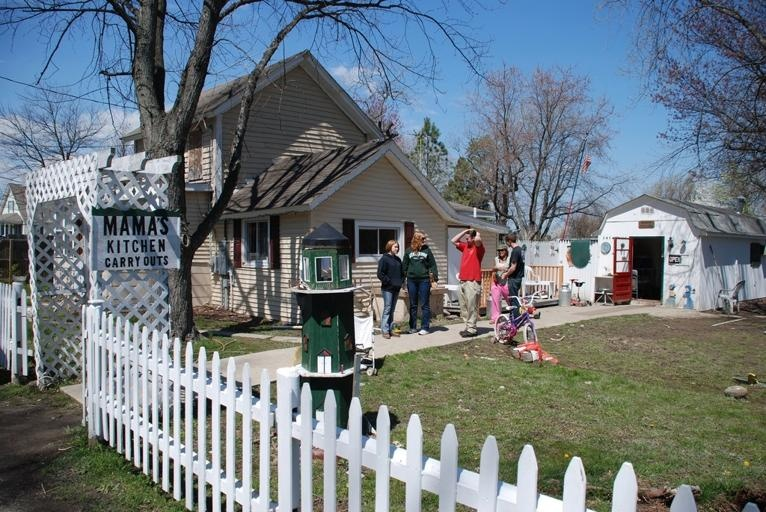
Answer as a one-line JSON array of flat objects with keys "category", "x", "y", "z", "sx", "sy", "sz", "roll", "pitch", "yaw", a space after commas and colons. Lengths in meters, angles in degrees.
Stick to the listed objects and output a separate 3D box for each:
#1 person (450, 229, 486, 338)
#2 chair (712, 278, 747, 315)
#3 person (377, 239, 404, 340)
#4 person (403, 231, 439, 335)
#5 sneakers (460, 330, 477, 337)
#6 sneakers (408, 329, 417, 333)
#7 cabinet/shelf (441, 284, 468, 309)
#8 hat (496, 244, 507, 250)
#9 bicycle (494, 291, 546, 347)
[{"category": "person", "x": 1.936, "y": 0.613, "z": 14.582, "sx": 0.647, "sy": 2.558, "sz": 1.034, "roll": 1, "pitch": 9, "yaw": 5}, {"category": "chair", "x": 12.073, "y": 1.360, "z": 22.057, "sx": 0.777, "sy": 1.105, "sz": 0.664, "roll": -3, "pitch": 7, "yaw": 32}, {"category": "person", "x": 0.165, "y": 0.745, "z": 14.459, "sx": 0.549, "sy": 2.211, "sz": 0.664, "roll": 0, "pitch": 8, "yaw": 0}, {"category": "person", "x": 0.902, "y": 0.639, "z": 14.937, "sx": 0.834, "sy": 2.475, "sz": 0.806, "roll": 2, "pitch": 9, "yaw": 17}, {"category": "sneakers", "x": 1.965, "y": 1.788, "z": 14.588, "sx": 0.257, "sy": 0.124, "sz": 0.175, "roll": 4, "pitch": -3, "yaw": -5}, {"category": "sneakers", "x": 0.686, "y": 1.781, "z": 14.994, "sx": 0.082, "sy": 0.069, "sz": 0.152, "roll": -5, "pitch": -13, "yaw": 19}, {"category": "cabinet/shelf", "x": 2.216, "y": 1.230, "z": 19.627, "sx": 0.723, "sy": 0.867, "sz": 0.773, "roll": -2, "pitch": -1, "yaw": 13}, {"category": "hat", "x": 2.797, "y": -0.243, "z": 14.805, "sx": 0.147, "sy": 0.075, "sz": 0.215, "roll": -6, "pitch": -7, "yaw": 33}, {"category": "bicycle", "x": 2.910, "y": 1.395, "z": 13.610, "sx": 0.778, "sy": 1.150, "sz": 1.717, "roll": -2, "pitch": 3, "yaw": -22}]
